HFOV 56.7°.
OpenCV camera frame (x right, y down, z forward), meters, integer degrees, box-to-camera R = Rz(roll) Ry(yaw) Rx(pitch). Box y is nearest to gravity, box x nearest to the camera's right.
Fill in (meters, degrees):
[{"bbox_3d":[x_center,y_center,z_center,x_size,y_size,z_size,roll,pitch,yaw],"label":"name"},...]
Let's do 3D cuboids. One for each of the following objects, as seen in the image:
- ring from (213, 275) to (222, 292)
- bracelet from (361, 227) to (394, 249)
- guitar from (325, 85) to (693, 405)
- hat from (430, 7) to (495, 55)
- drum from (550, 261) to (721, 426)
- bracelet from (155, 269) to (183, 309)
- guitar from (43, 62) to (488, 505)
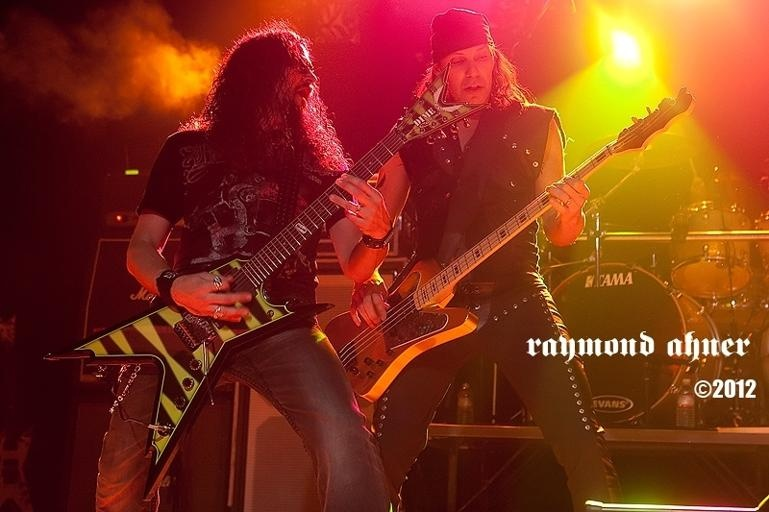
[{"bbox_3d":[-0.882,0.154,3.758,0.066,0.070,0.015,1,-11,-15],"label":"ring"},{"bbox_3d":[-0.037,-0.090,3.993,0.121,0.050,0.120,1,36,37],"label":"bracelet"},{"bbox_3d":[0.856,0.031,4.651,2.513,0.730,0.273,-41,-16,3],"label":"guitar"},{"bbox_3d":[0.460,-1.375,4.428,0.308,0.202,0.321,-3,17,30],"label":"hat"},{"bbox_3d":[1.870,0.661,5.728,1.133,1.254,1.293,11,-32,12],"label":"drum"},{"bbox_3d":[-1.177,0.175,3.854,0.205,0.212,0.100,-20,-26,37],"label":"bracelet"},{"bbox_3d":[-0.845,0.250,3.720,2.079,1.000,0.242,-42,6,19],"label":"guitar"}]
